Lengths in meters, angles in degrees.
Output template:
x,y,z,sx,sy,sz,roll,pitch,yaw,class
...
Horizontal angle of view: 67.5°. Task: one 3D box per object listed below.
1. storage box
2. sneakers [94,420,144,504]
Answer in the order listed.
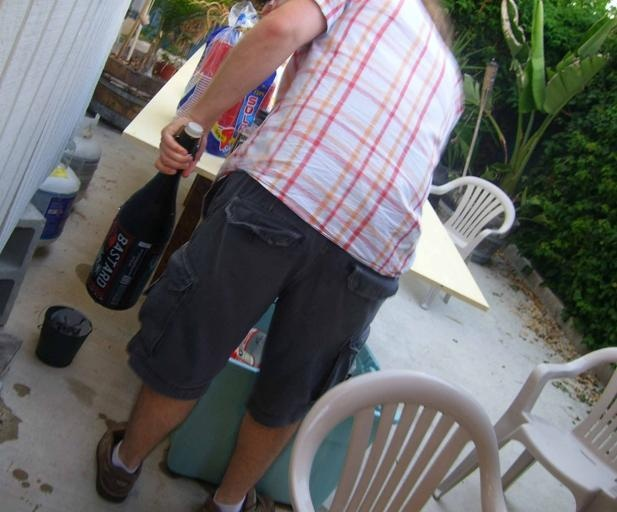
x,y,z,sx,sy,sz,roll,pitch,yaw,class
-0.129,0.608,1.733,0.688,0.492,0.591,18,26,-29,storage box
-0.620,0.655,1.511,0.114,0.098,0.276,16,61,-30,sneakers
